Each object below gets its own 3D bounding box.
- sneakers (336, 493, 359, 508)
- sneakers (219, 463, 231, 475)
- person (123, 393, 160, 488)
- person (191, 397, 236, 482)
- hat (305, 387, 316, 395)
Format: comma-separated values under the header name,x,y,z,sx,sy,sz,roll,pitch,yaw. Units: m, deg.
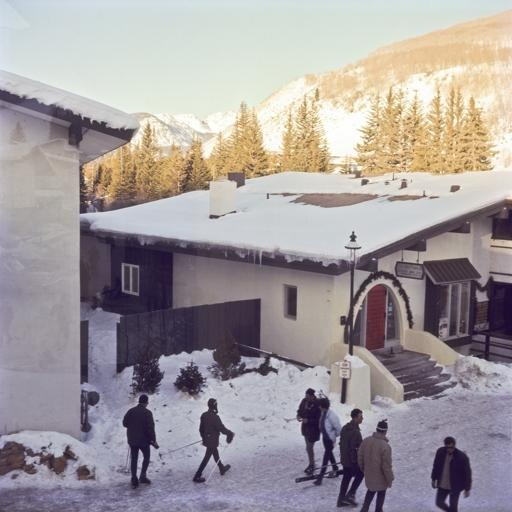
name,x,y,z,sx,sy,sz,roll,pitch,yaw
sneakers,1.727,4.693,16.085,0.432,0.205,0.166,-1,0,-12
sneakers,-0.603,4.294,17.051,0.095,0.216,0.293,8,28,30
person,-2.276,3.624,16.458,0.615,1.813,0.669,0,-1,-33
person,-0.857,3.657,16.790,0.800,1.689,0.782,-1,-1,1
hat,1.111,2.744,17.051,0.137,0.143,0.155,-6,-14,30
